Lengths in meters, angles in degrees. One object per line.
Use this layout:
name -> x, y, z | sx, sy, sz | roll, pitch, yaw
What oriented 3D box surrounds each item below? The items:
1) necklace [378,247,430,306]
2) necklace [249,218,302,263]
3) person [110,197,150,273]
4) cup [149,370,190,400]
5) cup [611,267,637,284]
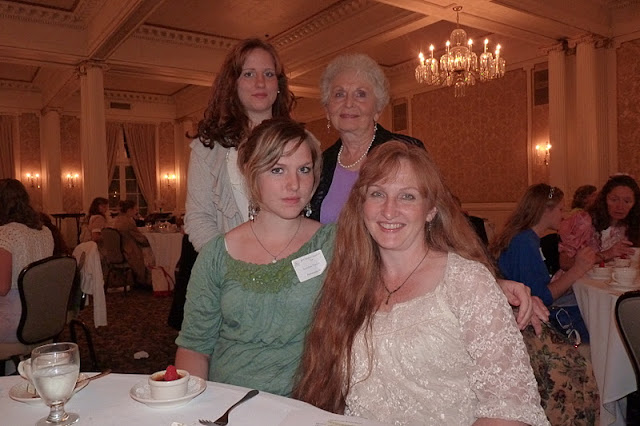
necklace -> 0.418, 0.308, 2.389 | 0.017, 0.307, 0.173 | 38, -26, -23
necklace -> -0.236, 0.159, 2.572 | 0.243, 0.320, 0.015 | 2, -23, -3
person -> -3.350, 0.540, 8.414 | 0.626, 1.317, 1.014 | -3, 4, -23
cup -> -0.656, 0.750, 2.046 | 0.123, 0.065, 0.122 | 2, -2, 0
cup -> 2.494, 0.529, 3.920 | 0.180, 0.153, 0.155 | -6, -1, 0
